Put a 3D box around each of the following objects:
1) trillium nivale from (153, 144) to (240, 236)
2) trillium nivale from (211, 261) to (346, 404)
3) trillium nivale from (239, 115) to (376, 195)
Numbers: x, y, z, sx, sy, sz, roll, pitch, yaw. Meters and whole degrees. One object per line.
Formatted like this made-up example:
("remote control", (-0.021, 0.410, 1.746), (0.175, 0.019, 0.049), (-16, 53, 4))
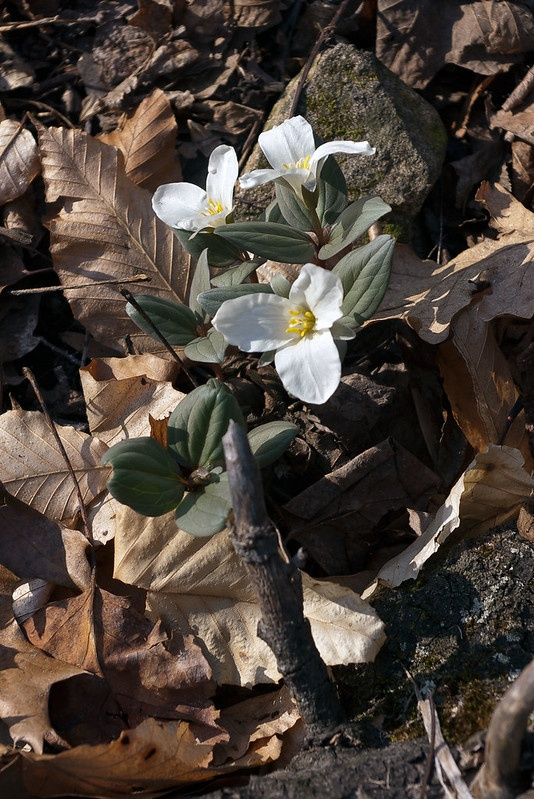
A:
("trillium nivale", (-0.221, -0.680, 2.710), (0.241, 0.123, 0.268), (-20, 15, 6))
("trillium nivale", (0.083, -0.216, 2.363), (0.380, 0.318, 0.267), (24, 52, 31))
("trillium nivale", (0.089, -0.766, 2.515), (0.354, 0.155, 0.283), (-16, 61, 17))
